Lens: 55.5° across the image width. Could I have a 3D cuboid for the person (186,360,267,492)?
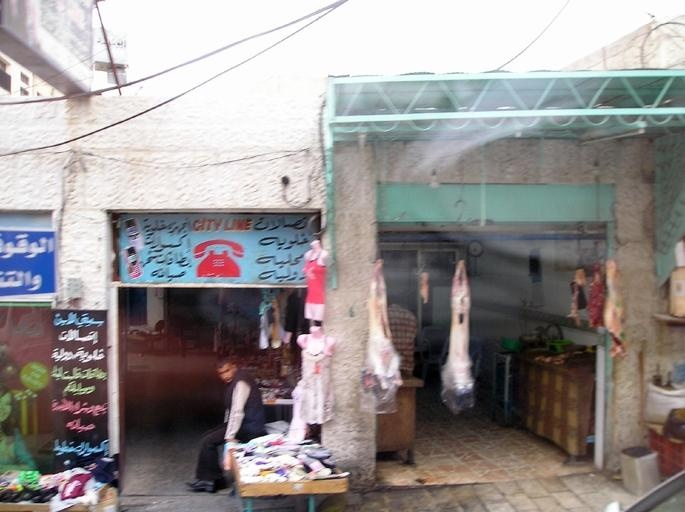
[{"bbox_3d":[-1.585,2.334,8.900,1.060,1.809,0.617,-3,10,-7],"label":"person"}]
